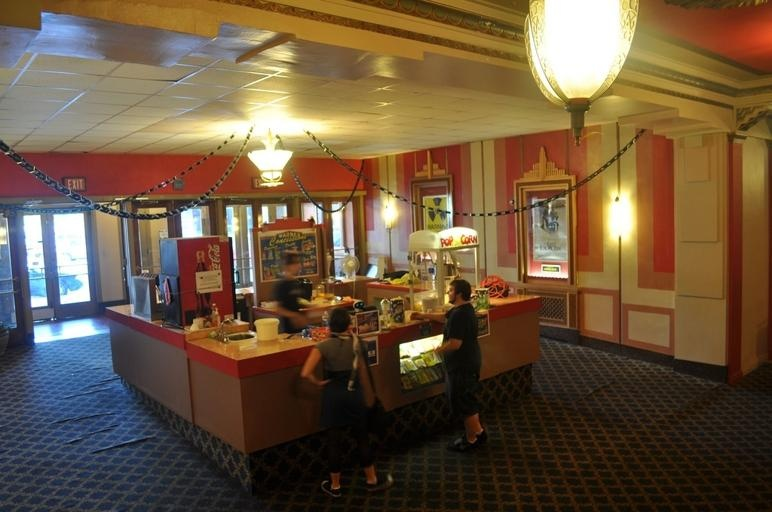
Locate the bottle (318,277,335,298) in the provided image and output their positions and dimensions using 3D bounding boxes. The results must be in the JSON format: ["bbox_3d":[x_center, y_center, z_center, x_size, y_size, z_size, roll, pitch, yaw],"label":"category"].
[{"bbox_3d":[-1.091,0.571,9.957,0.249,0.415,0.428,4,6,39],"label":"bottle"}]

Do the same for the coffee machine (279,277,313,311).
[{"bbox_3d":[-1.353,0.577,7.983,0.330,0.540,0.617,10,10,43],"label":"coffee machine"}]

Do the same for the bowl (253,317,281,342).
[{"bbox_3d":[-1.407,0.871,6.377,0.273,0.184,0.267,0,1,0],"label":"bowl"}]

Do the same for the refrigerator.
[{"bbox_3d":[-2.583,0.288,7.415,0.697,1.028,0.869,9,14,42],"label":"refrigerator"}]

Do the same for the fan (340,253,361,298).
[{"bbox_3d":[-0.758,0.353,11.274,0.337,0.865,1.106,-3,13,-4],"label":"fan"}]

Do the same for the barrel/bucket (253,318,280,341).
[{"bbox_3d":[-1.401,0.864,6.381,0.271,0.182,0.264,0,1,0],"label":"barrel/bucket"}]

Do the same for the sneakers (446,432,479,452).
[{"bbox_3d":[0.963,2.306,6.625,0.327,0.122,0.176,2,-1,-11],"label":"sneakers"}]

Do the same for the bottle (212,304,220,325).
[{"bbox_3d":[-2.268,0.780,7.135,0.099,0.211,0.254,-6,14,-17],"label":"bottle"}]

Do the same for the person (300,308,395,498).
[{"bbox_3d":[-0.450,1.616,5.905,0.868,2.066,0.367,-4,14,-10],"label":"person"}]

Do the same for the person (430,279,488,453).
[{"bbox_3d":[0.950,1.335,6.681,0.598,2.093,0.673,0,14,10],"label":"person"}]
